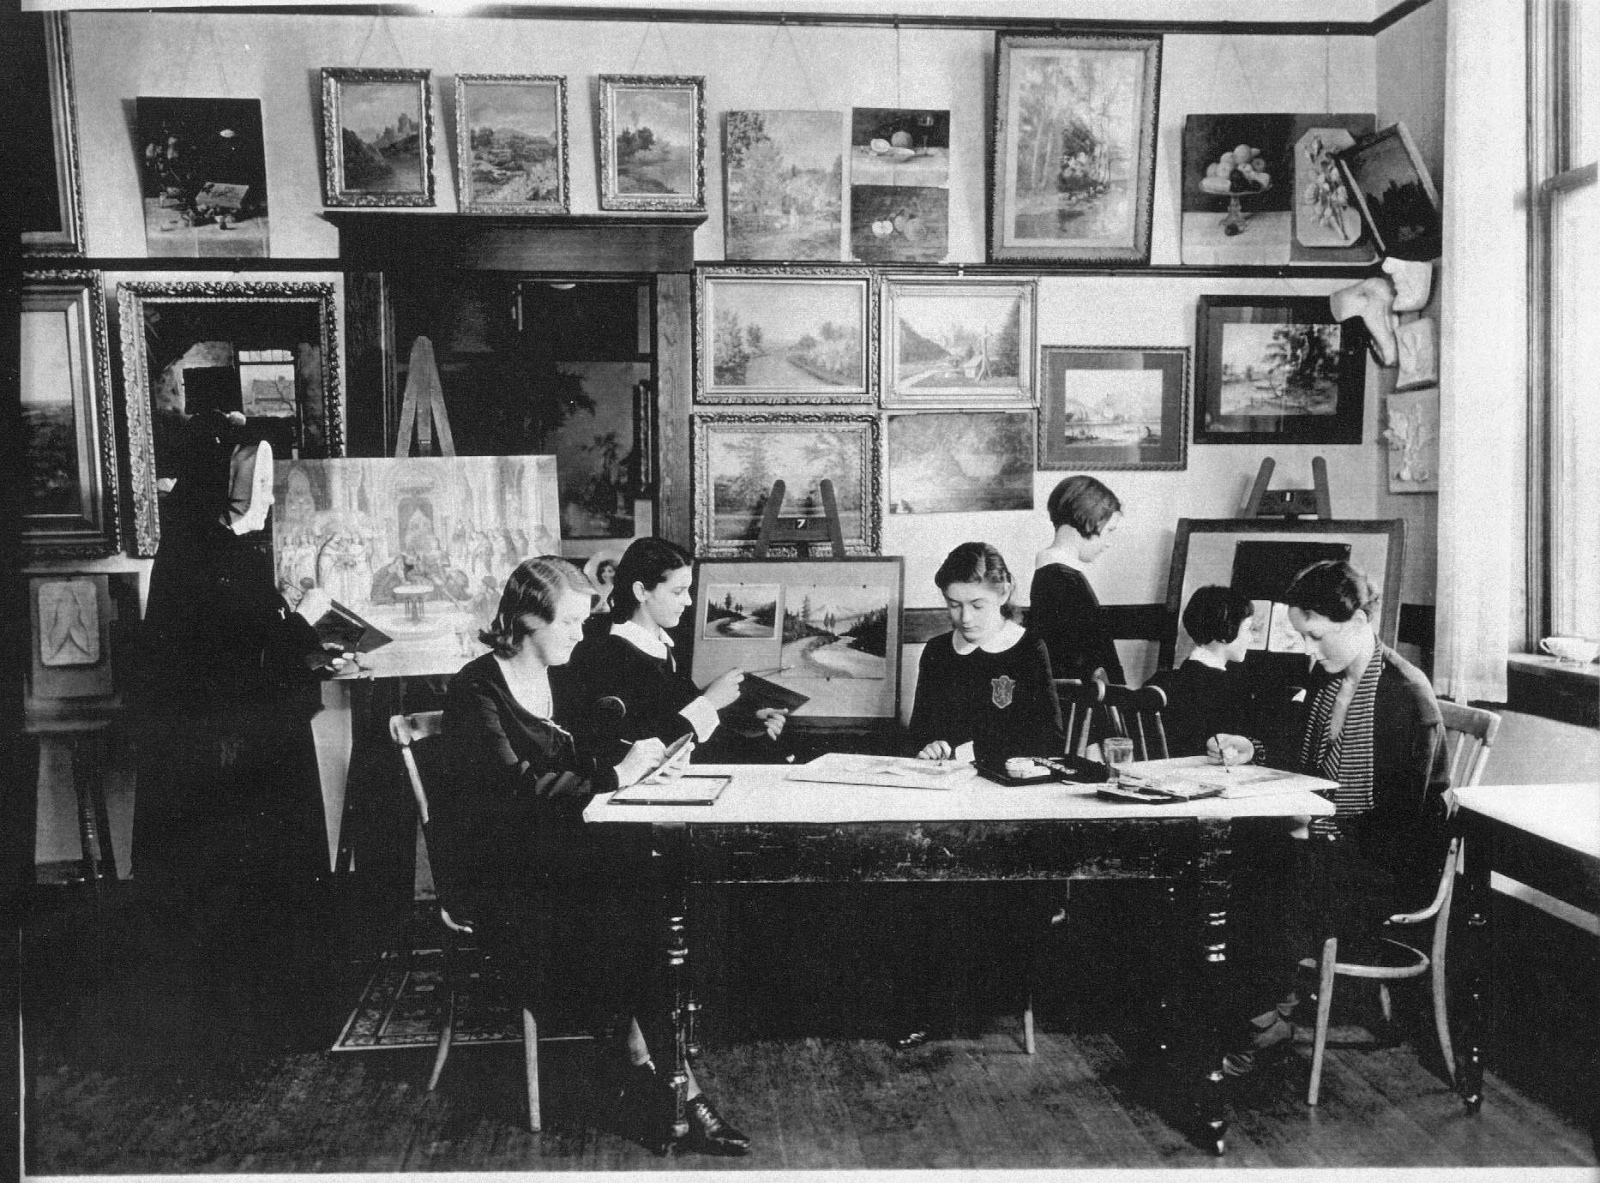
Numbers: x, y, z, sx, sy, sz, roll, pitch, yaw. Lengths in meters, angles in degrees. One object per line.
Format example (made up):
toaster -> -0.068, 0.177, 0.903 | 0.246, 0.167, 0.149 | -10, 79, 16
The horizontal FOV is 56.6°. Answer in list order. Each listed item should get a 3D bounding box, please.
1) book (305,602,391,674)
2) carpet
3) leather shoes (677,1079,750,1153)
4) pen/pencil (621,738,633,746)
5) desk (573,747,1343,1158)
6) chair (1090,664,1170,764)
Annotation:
book -> -1.483, 0.151, 4.872 | 0.207, 0.210, 0.058 | 33, 14, -5
carpet -> -1.232, 1.366, 4.941 | 0.728, 0.355, 0.033 | -5, -20, 5
leather shoes -> -0.239, 1.664, 4.660 | 0.349, 0.224, 0.120 | 3, -9, -3
pen/pencil -> -0.574, 0.492, 4.888 | 0.026, 0.019, 0.006 | 6, 29, -5
desk -> 0.424, 0.861, 4.659 | 2.173, 0.601, 0.269 | -1, 9, -2
chair -> 1.101, 0.403, 4.916 | 0.234, 0.371, 0.250 | 1, 7, 11
